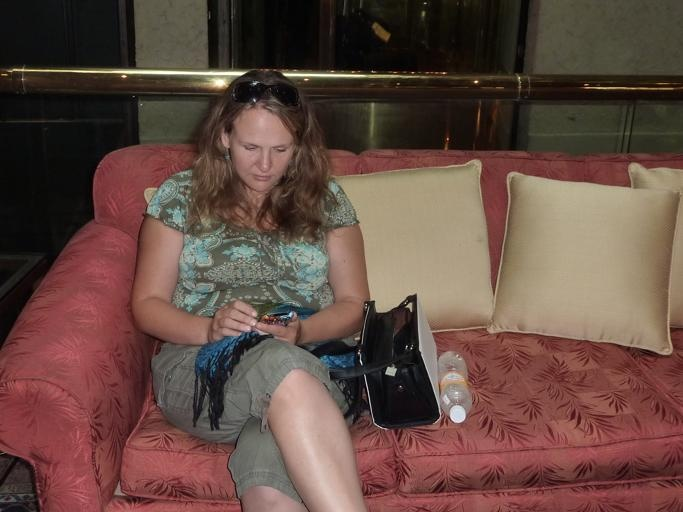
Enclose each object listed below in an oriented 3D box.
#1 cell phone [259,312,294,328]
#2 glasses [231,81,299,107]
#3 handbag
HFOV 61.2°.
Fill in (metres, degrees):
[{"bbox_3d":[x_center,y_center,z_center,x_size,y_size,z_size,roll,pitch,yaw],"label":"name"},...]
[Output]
[{"bbox_3d":[-0.168,0.167,1.532,0.061,0.023,0.046,-3,-4,8],"label":"cell phone"},{"bbox_3d":[-0.216,-0.456,1.641,0.188,0.073,0.062,-5,19,-10],"label":"glasses"},{"bbox_3d":[0.172,0.294,1.658,0.228,0.313,0.276,1,19,5],"label":"handbag"}]
